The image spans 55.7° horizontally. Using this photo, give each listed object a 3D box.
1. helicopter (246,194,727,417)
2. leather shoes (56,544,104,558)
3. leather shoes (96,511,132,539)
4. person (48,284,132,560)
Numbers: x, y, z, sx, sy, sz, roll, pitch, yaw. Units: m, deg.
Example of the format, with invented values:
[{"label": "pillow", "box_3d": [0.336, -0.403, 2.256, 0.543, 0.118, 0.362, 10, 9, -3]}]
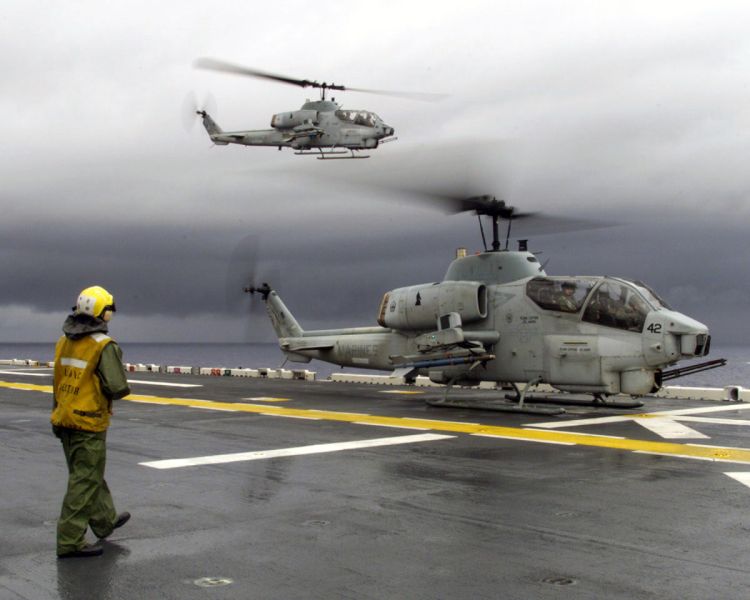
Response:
[{"label": "helicopter", "box_3d": [2.673, 0.512, 19.485, 12.630, 3.306, 6.105, -4, -2, 36]}, {"label": "leather shoes", "box_3d": [-2.606, 2.241, 6.277, 0.397, 0.097, 0.115, -3, 4, -9]}, {"label": "leather shoes", "box_3d": [-2.511, 2.163, 6.823, 0.122, 0.326, 0.152, 29, -24, 39]}, {"label": "person", "box_3d": [-2.689, 1.110, 6.635, 0.752, 2.495, 0.991, -4, 5, -18]}]
